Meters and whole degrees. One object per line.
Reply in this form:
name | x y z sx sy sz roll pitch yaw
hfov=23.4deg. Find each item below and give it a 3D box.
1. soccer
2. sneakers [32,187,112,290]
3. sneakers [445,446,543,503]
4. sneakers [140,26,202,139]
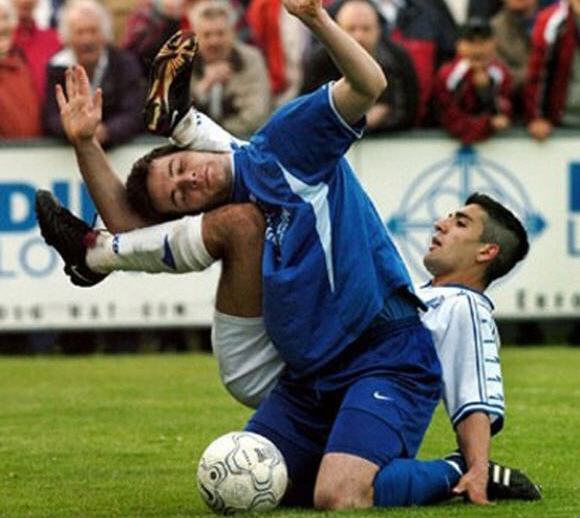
soccer | -0.192 0.846 5.503 0.312 0.327 0.304 -3 -1 -7
sneakers | -0.936 -0.096 5.917 0.180 0.531 0.234 -40 13 -1
sneakers | 0.825 0.913 5.805 0.411 0.169 0.143 7 33 20
sneakers | -0.486 -0.736 5.690 0.241 0.453 0.201 -2 -7 8
